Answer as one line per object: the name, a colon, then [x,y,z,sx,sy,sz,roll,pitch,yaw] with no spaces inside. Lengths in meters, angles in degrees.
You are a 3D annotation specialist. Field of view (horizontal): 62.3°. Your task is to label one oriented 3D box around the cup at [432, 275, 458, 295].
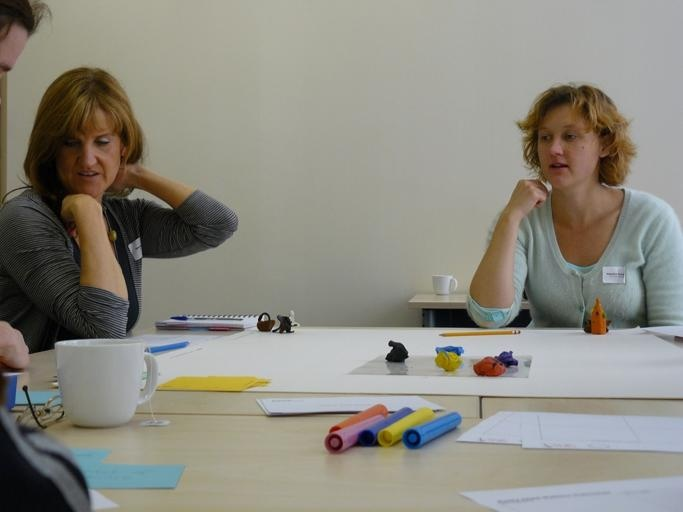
cup: [0.542,0.138,2.927,0.122,0.081,0.084,1,-4,-8]
